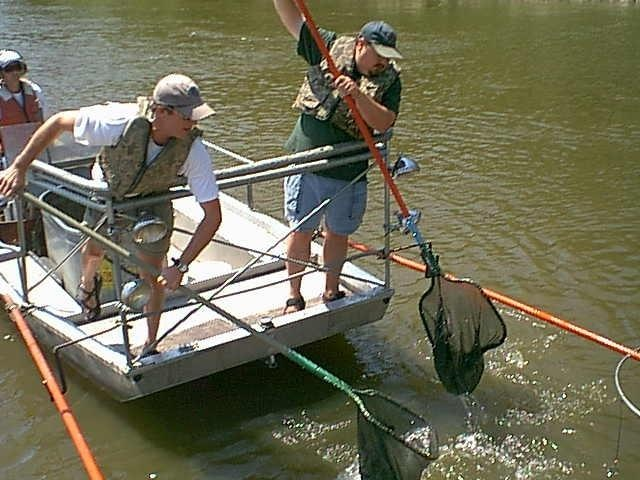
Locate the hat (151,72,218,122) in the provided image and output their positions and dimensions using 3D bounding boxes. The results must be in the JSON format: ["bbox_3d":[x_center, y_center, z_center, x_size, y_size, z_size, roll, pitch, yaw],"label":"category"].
[{"bbox_3d":[-1.196,-1.330,7.805,0.626,0.290,0.388,20,40,24],"label":"hat"}]

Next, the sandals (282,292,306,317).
[{"bbox_3d":[-0.269,0.663,8.955,0.111,0.105,0.306,-7,-2,30],"label":"sandals"}]

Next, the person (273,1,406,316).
[{"bbox_3d":[0.178,-0.797,8.697,1.341,3.064,1.085,-6,28,-4],"label":"person"}]

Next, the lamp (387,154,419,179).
[{"bbox_3d":[0.797,-0.736,8.790,0.204,0.129,0.269,-16,3,-20],"label":"lamp"}]

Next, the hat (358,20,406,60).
[{"bbox_3d":[0.632,-1.948,8.357,0.335,0.218,0.526,-11,45,-40],"label":"hat"}]

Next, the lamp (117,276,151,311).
[{"bbox_3d":[-1.672,0.472,7.572,0.227,0.276,0.242,23,51,-6],"label":"lamp"}]
